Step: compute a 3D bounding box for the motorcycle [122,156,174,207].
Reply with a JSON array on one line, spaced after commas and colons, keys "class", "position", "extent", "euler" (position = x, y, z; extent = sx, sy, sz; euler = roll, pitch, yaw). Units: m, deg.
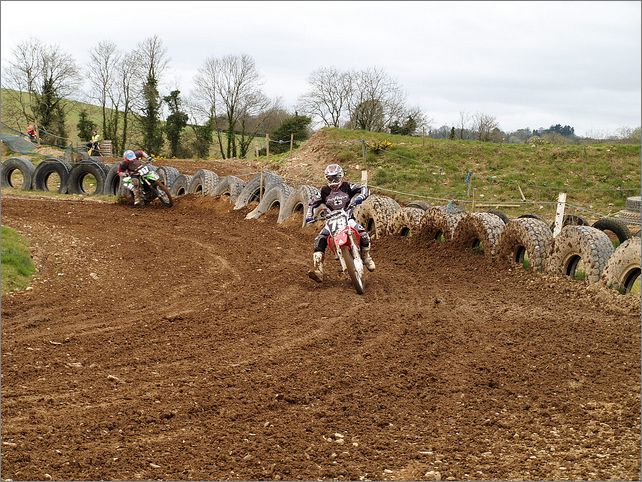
[{"class": "motorcycle", "position": [-5.902, -1.907, 21.351], "extent": [2.827, 1.503, 0.866], "euler": [8, 35, 47]}]

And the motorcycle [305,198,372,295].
[{"class": "motorcycle", "position": [0.539, -0.052, 12.326], "extent": [0.945, 1.643, 2.714], "euler": [-20, 3, 9]}]

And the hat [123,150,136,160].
[{"class": "hat", "position": [-6.095, -2.711, 20.400], "extent": [0.287, 0.341, 0.351], "euler": [-5, 7, -20]}]

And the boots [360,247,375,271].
[{"class": "boots", "position": [0.863, 0.353, 12.318], "extent": [0.144, 0.417, 0.288], "euler": [-23, -22, 20]}]

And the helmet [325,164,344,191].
[{"class": "helmet", "position": [0.163, -1.289, 12.163], "extent": [0.354, 0.401, 0.442], "euler": [-2, 40, 12]}]

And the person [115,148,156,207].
[{"class": "person", "position": [-6.026, -2.024, 20.719], "extent": [1.033, 1.791, 0.878], "euler": [-3, 12, -12]}]

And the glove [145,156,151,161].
[{"class": "glove", "position": [-5.527, -2.633, 20.545], "extent": [0.162, 0.162, 0.155], "euler": [9, -34, -6]}]
